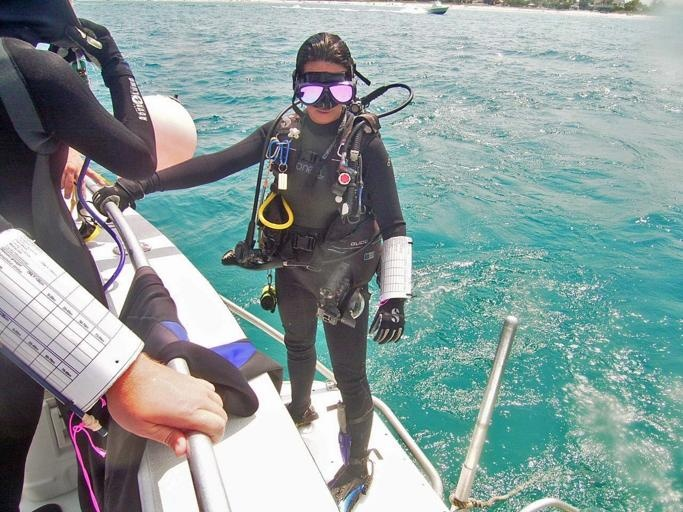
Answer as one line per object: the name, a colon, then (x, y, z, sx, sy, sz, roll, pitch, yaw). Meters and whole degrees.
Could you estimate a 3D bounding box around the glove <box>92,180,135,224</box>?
glove: (-1.230, -0.294, 2.588, 0.189, 0.109, 0.261, 47, 33, 14)

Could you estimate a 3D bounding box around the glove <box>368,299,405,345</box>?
glove: (0.234, 0.348, 2.579, 0.224, 0.218, 0.095, 7, -4, -14)
